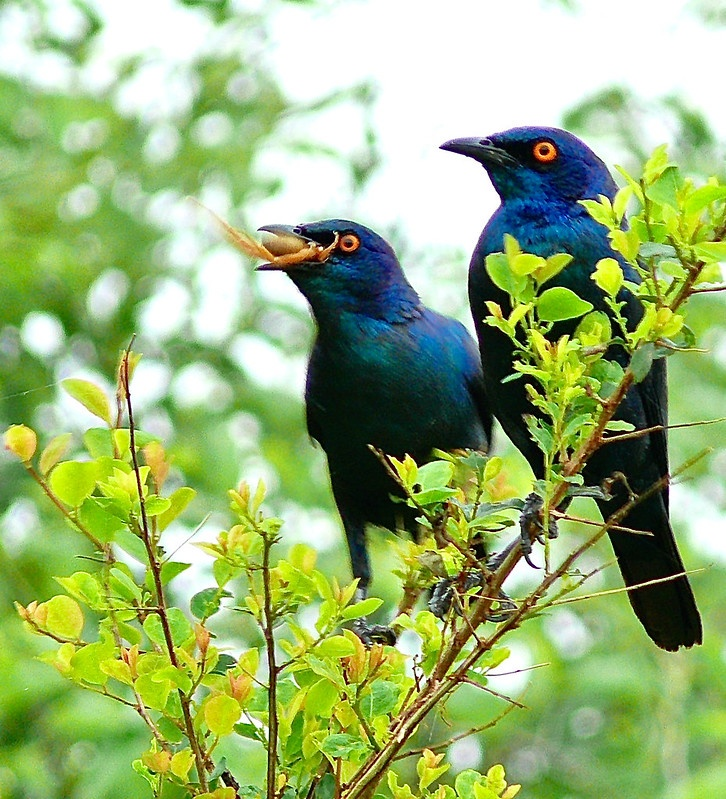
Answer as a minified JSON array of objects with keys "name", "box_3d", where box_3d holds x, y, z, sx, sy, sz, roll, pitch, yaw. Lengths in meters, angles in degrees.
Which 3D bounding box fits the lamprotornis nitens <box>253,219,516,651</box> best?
[{"name":"lamprotornis nitens","box_3d":[0.093,0.090,4.764,0.730,1.258,1.019,1,18,33]}]

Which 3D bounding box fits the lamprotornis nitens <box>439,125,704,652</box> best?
[{"name":"lamprotornis nitens","box_3d":[0.696,-0.039,4.647,0.807,1.667,1.138,3,14,29]}]
